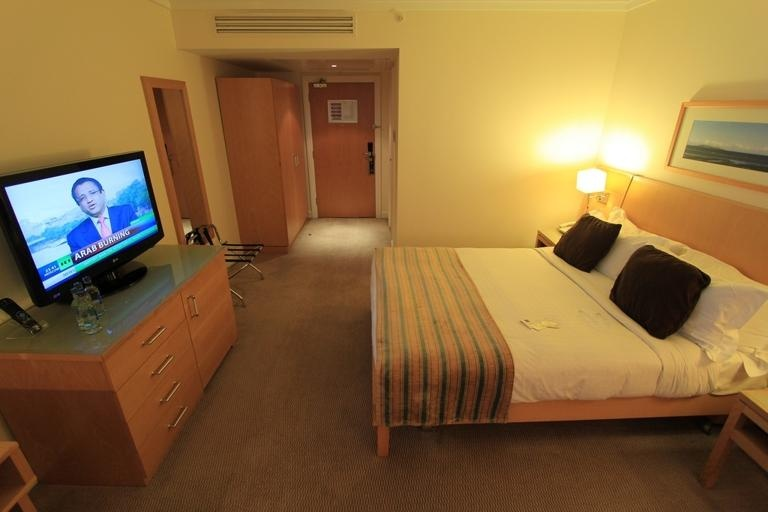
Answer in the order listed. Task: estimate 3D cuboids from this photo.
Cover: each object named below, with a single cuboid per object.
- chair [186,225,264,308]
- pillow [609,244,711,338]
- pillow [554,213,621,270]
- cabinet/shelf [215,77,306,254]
[{"bbox_3d":[-1.796,0.031,5.887,0.787,0.976,1.048,1,32,-6],"label":"chair"},{"bbox_3d":[2.192,0.289,4.165,0.208,0.638,0.688,21,14,-44],"label":"pillow"},{"bbox_3d":[1.903,-0.117,4.908,0.161,0.499,0.534,29,10,-24],"label":"pillow"},{"bbox_3d":[-1.543,-1.074,6.359,0.608,1.857,1.933,0,20,-1],"label":"cabinet/shelf"}]
